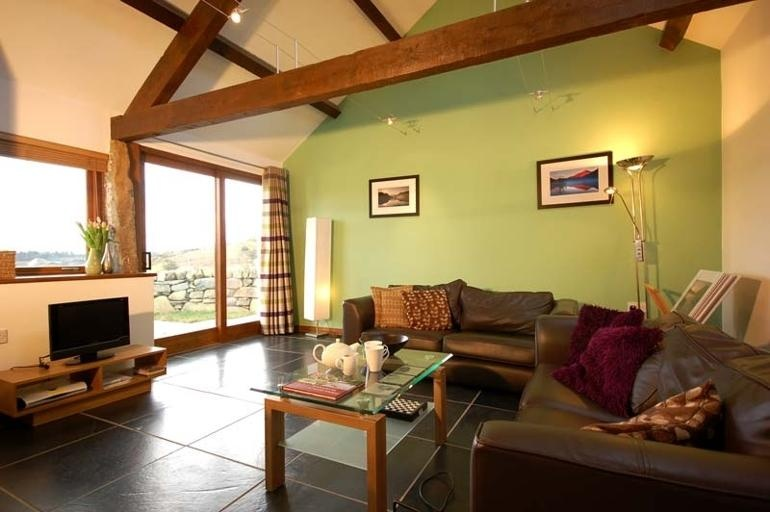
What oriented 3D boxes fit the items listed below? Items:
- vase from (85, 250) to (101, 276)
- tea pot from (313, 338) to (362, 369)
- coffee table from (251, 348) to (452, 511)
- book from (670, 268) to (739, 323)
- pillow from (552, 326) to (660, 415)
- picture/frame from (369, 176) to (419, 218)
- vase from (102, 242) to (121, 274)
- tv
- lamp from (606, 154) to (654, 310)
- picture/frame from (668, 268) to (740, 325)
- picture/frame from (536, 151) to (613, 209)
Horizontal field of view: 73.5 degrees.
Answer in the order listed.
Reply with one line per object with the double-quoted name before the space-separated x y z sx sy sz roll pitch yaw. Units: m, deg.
"vase" -3.201 0.064 5.654 0.151 0.293 0.111 -5 2 -29
"tea pot" -0.394 0.800 4.392 0.424 0.222 0.284 -1 -1 -13
"coffee table" -0.230 1.080 4.157 1.036 0.733 1.525 -1 0 26
"book" 3.305 0.414 5.259 0.057 0.514 0.494 31 -28 11
"pillow" 1.736 0.848 3.946 0.212 0.631 0.647 32 -3 -28
"picture/frame" 0.164 -0.810 7.119 0.651 0.423 0.022 1 4 28
"vase" -3.138 0.015 5.916 0.228 0.364 0.084 -4 2 3
"tv" -2.900 0.744 5.026 0.199 0.529 0.752 -6 -5 32
"lamp" 2.789 -0.212 5.787 0.455 1.747 0.425 -3 2 25
"picture/frame" 3.289 0.421 5.242 0.063 0.546 0.508 32 -26 10
"picture/frame" 2.293 -0.899 6.113 0.800 0.555 0.029 0 -4 24
